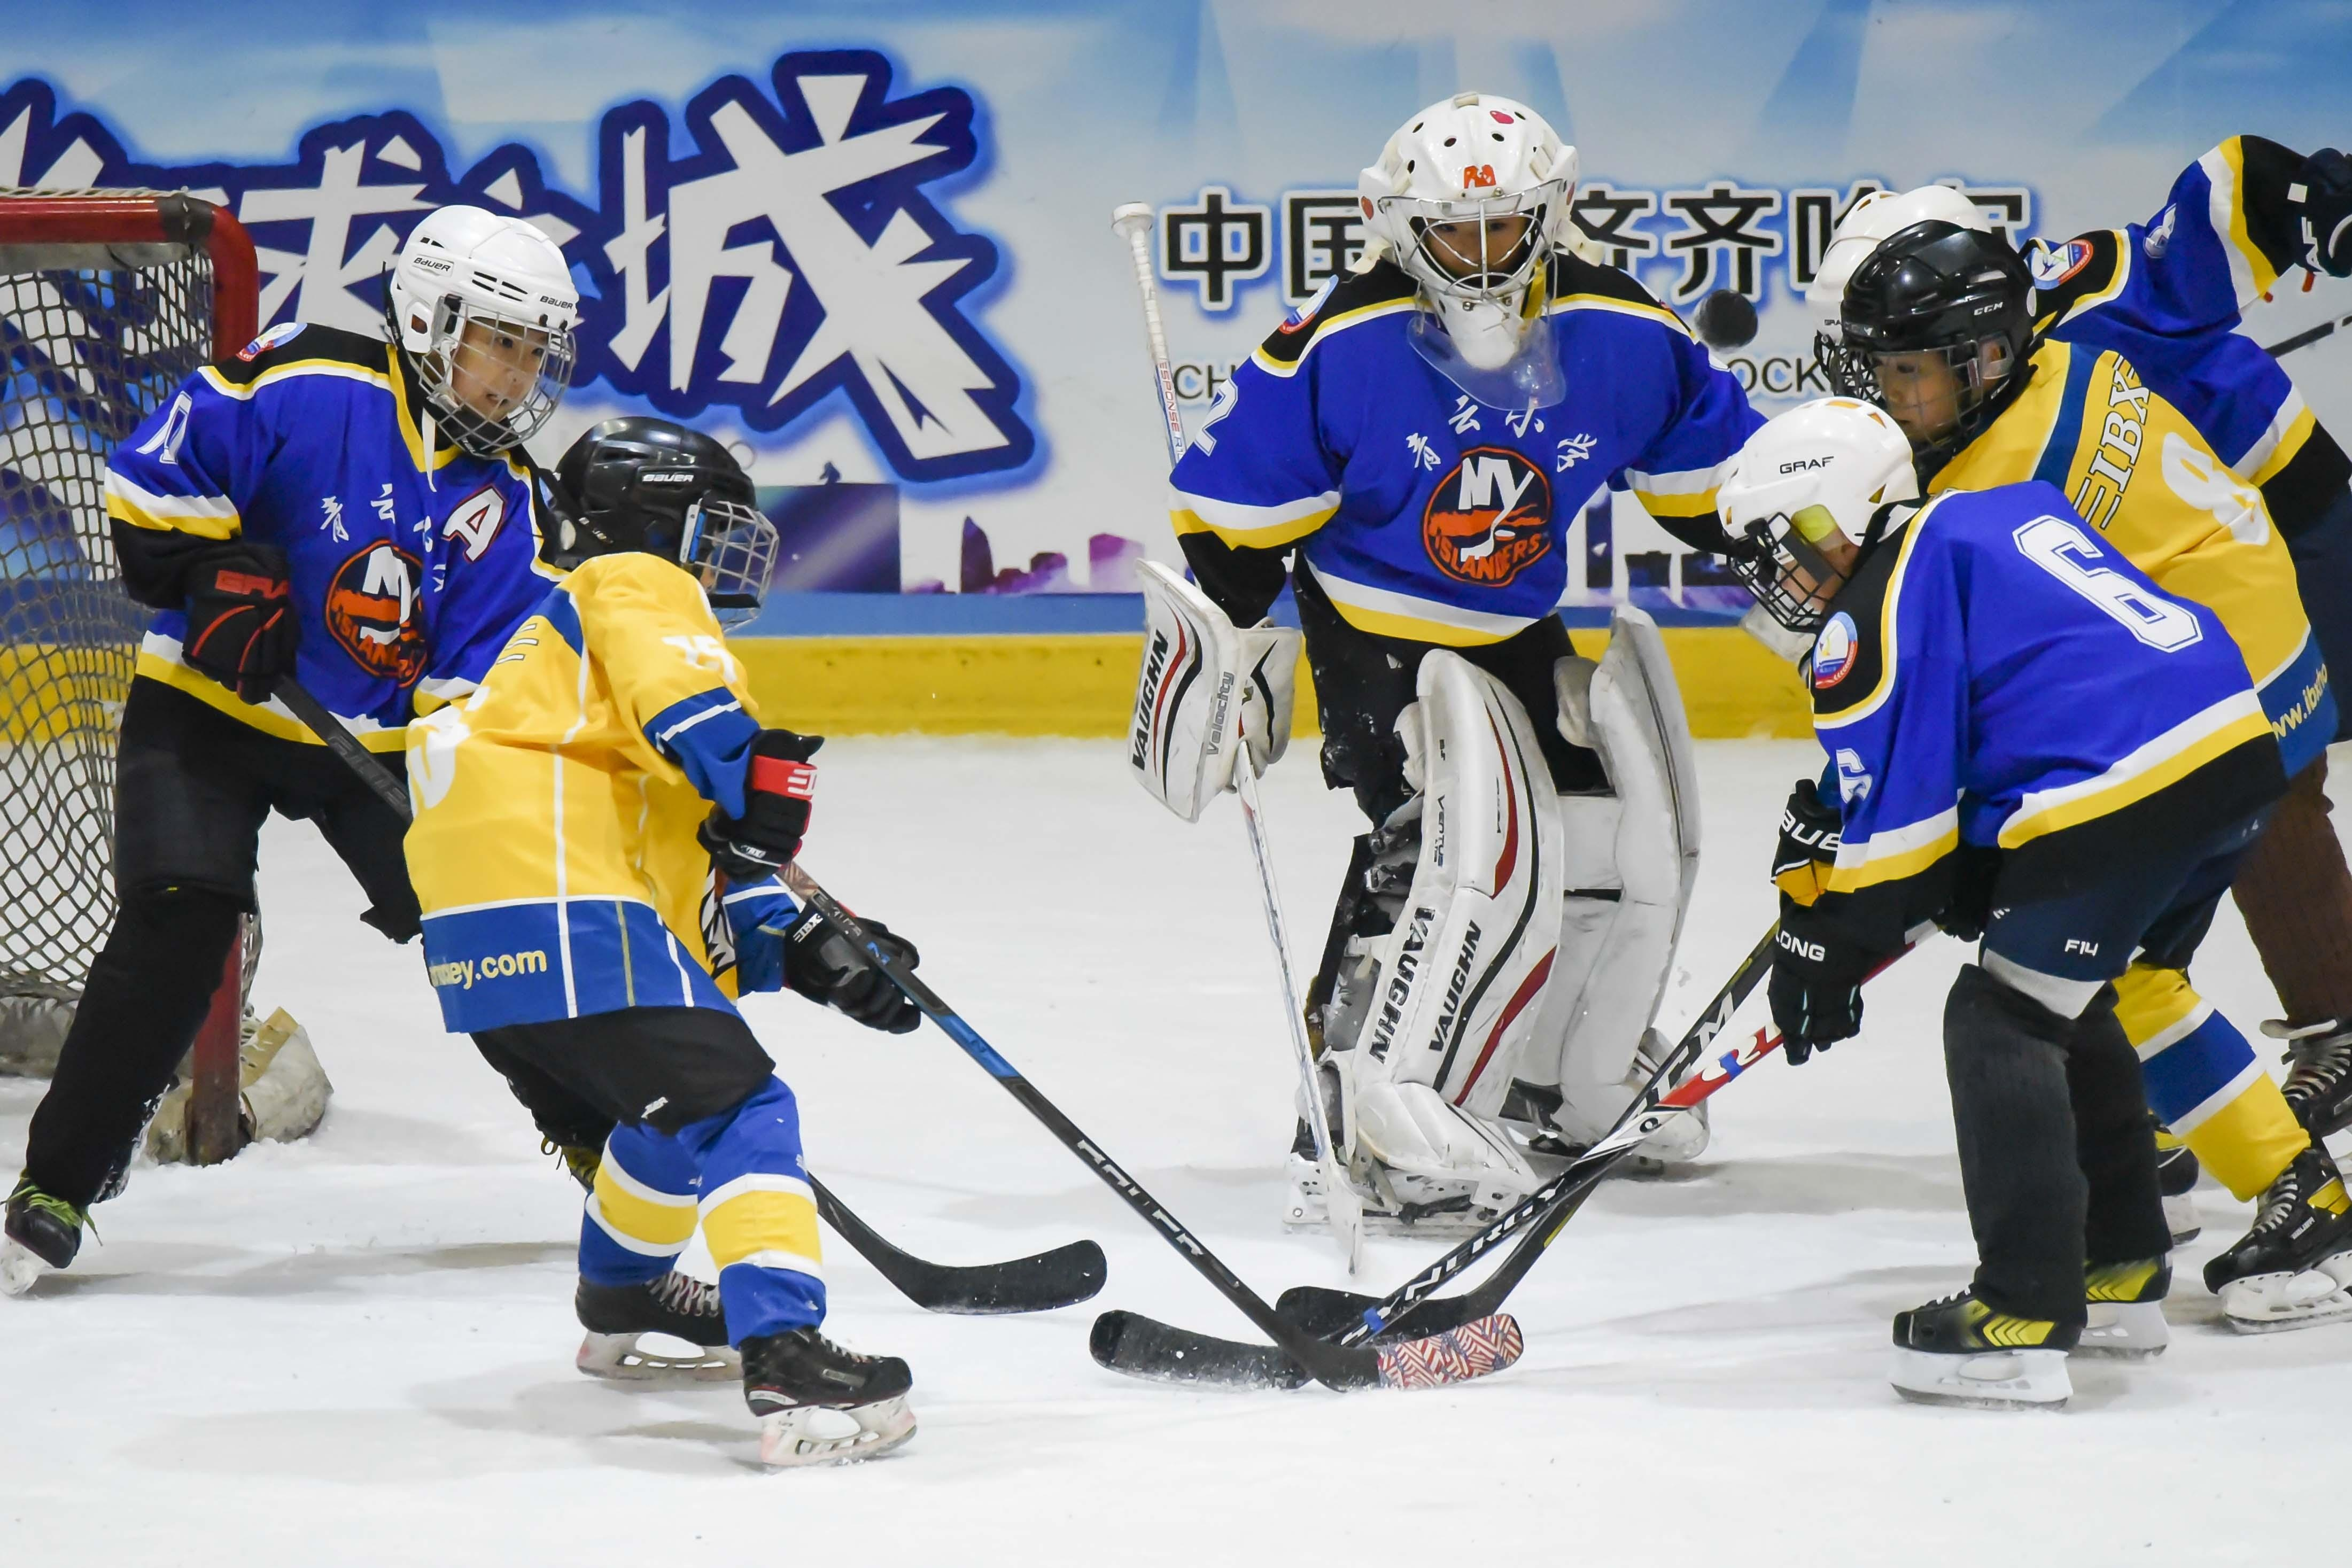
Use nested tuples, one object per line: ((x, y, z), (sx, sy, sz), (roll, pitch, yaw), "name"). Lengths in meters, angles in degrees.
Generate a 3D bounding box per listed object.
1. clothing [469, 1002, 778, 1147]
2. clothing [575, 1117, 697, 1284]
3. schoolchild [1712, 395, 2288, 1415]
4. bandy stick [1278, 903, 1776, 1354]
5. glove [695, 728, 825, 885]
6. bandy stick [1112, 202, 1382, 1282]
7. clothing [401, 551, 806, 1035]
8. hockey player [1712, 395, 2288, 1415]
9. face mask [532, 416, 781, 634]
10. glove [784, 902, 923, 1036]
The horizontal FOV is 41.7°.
((-0.863, 0.464, 4.850), (0.447, 0.152, 0.292), (1, 25, 32), "clothing")
((-0.862, 0.662, 4.897), (0.205, 0.266, 0.264), (14, -13, -5), "clothing")
((1.262, 0.164, 4.829), (0.846, 1.475, 0.562), (5, 16, 19), "schoolchild")
((0.606, 0.614, 5.472), (0.894, 0.101, 0.169), (-39, 20, 0), "bandy stick")
((-0.657, 0.034, 4.816), (0.171, 0.293, 0.280), (-7, 16, -24), "glove")
((0.119, 0.065, 5.679), (0.340, 2.341, 0.272), (-10, 1, 8), "bandy stick")
((-0.899, 0.008, 4.794), (0.592, 0.728, 0.348), (-2, 15, -8), "clothing")
((1.260, 0.164, 4.830), (0.849, 1.475, 0.562), (5, 16, 19), "hockey player")
((-0.854, -0.424, 5.006), (0.370, 0.342, 0.278), (8, 1, -20), "face mask")
((-0.537, 0.295, 5.069), (0.235, 0.102, 0.174), (37, 48, -9), "glove")
